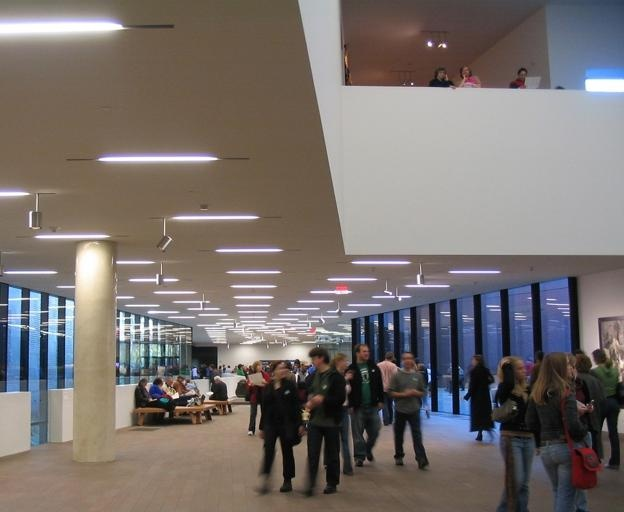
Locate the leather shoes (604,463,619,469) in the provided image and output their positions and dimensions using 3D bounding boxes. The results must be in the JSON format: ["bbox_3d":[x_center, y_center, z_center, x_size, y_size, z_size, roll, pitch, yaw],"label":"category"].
[{"bbox_3d":[5.347,3.731,10.205,0.185,0.087,0.071,2,-2,36],"label":"leather shoes"}]

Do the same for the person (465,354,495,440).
[{"bbox_3d":[3.973,3.268,13.562,0.573,1.851,1.138,-4,-7,14],"label":"person"}]

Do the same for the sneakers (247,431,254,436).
[{"bbox_3d":[-1.686,4.895,15.902,0.178,0.104,0.256,0,-2,-2],"label":"sneakers"}]

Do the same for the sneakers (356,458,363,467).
[{"bbox_3d":[0.892,3.797,10.603,0.105,0.130,0.123,-2,-10,6],"label":"sneakers"}]

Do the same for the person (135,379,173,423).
[{"bbox_3d":[-5.394,4.893,19.586,1.243,1.515,1.060,-1,-6,3],"label":"person"}]

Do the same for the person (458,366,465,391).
[{"bbox_3d":[6.046,4.882,23.052,0.235,1.042,0.589,-3,-7,13],"label":"person"}]

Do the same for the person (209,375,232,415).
[{"bbox_3d":[-3.811,5.593,23.237,0.821,1.628,0.593,-5,-6,17],"label":"person"}]

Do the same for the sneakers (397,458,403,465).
[{"bbox_3d":[1.644,3.824,10.697,0.131,0.149,0.086,4,-15,-2],"label":"sneakers"}]

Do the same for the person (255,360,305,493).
[{"bbox_3d":[-0.454,2.506,8.386,0.585,1.914,0.679,0,-7,-17],"label":"person"}]

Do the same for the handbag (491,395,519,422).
[{"bbox_3d":[2.105,1.705,6.324,0.184,0.261,0.306,3,-9,-34],"label":"handbag"}]

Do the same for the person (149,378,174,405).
[{"bbox_3d":[-5.188,4.815,19.951,0.779,1.185,0.705,-11,-22,5],"label":"person"}]

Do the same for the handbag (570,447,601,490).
[{"bbox_3d":[2.575,1.984,5.396,0.265,0.390,0.207,11,-19,-38],"label":"handbag"}]

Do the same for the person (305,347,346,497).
[{"bbox_3d":[0.187,2.401,8.406,0.654,2.087,0.530,0,-7,-13],"label":"person"}]

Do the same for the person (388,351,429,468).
[{"bbox_3d":[1.778,2.819,10.589,0.672,2.066,1.043,-3,-7,10],"label":"person"}]
